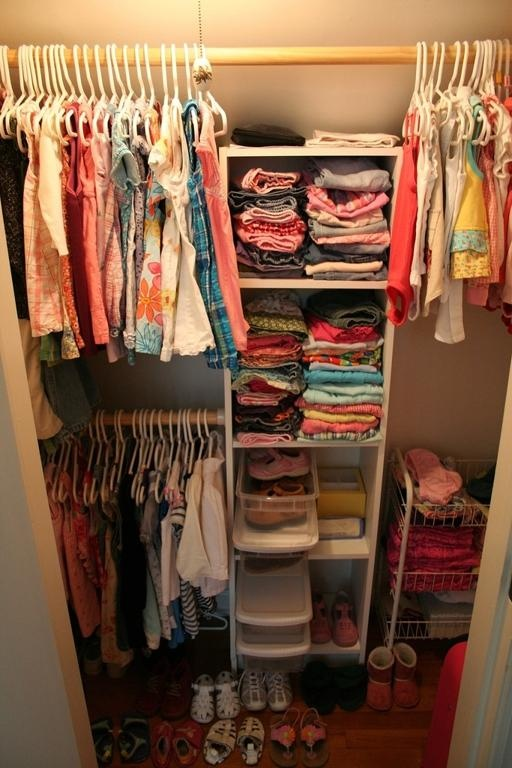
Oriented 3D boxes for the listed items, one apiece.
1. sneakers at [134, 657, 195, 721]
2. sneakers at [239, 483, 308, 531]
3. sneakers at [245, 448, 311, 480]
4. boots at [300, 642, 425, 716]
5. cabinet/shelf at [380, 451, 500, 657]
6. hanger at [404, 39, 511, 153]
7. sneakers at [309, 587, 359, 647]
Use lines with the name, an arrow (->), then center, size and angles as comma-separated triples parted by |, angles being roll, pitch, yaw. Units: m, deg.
sneakers -> -0.304, 1.051, 2.033 | 0.091, 0.074, 0.175 | 4, 12, 5
sneakers -> 0.052, 0.375, 1.913 | 0.193, 0.094, 0.125 | -11, 36, -11
sneakers -> 0.084, 0.254, 1.957 | 0.172, 0.088, 0.110 | 1, 7, -5
boots -> 0.372, 0.936, 1.980 | 0.314, 0.112, 0.201 | -4, 24, 0
cabinet/shelf -> 0.674, 0.554, 2.167 | 0.267, 0.530, 0.391 | 16, 21, 23
hanger -> 0.491, -0.672, 1.472 | 0.323, 0.368, 0.111 | -1, 5, -3
sneakers -> 0.291, 0.876, 2.179 | 0.155, 0.091, 0.238 | -1, 14, 3
